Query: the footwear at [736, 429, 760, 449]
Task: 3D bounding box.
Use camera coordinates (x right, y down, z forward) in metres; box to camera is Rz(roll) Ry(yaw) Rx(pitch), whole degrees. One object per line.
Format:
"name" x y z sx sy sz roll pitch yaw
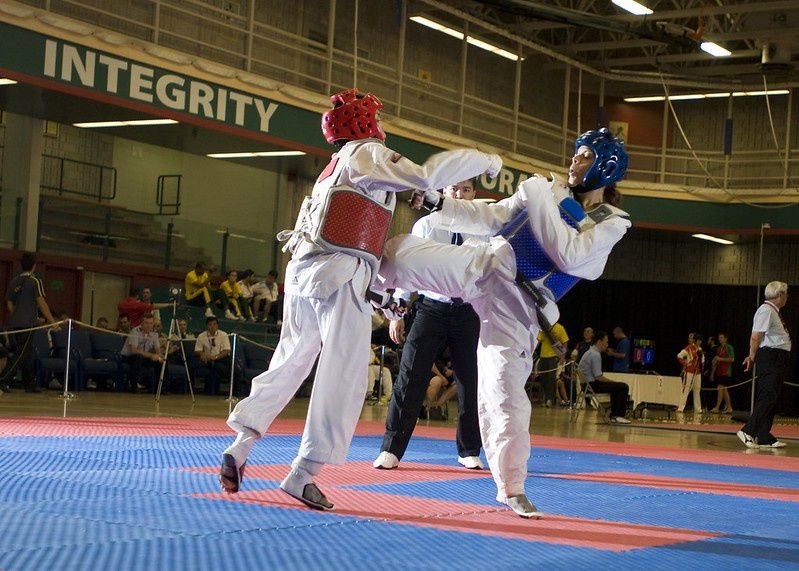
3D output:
"footwear" 4.698 2.087 10.940 0.186 0.144 0.444 -25 -37 12

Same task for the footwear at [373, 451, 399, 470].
"footwear" -0.106 1.425 6.589 0.093 0.100 0.239 -4 -14 14

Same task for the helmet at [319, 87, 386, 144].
"helmet" -0.317 -1.130 5.534 0.409 0.391 0.312 4 -5 0

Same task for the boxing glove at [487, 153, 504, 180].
"boxing glove" 0.651 -0.802 5.392 0.066 0.165 0.127 18 -8 -9

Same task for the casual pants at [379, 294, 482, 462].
"casual pants" 0.313 0.807 7.220 0.852 1.659 0.389 3 17 -3

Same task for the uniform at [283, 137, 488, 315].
"uniform" -0.036 -0.368 5.544 1.181 1.056 1.038 -1 -17 -4

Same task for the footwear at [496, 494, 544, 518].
"footwear" 0.779 1.410 5.218 0.105 0.105 0.262 -3 6 -37

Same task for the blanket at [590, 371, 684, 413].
"blanket" 5.303 2.114 16.241 1.533 0.637 1.572 0 -6 22

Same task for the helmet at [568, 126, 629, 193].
"helmet" 1.408 -0.877 5.740 0.436 0.449 0.343 5 9 -14
